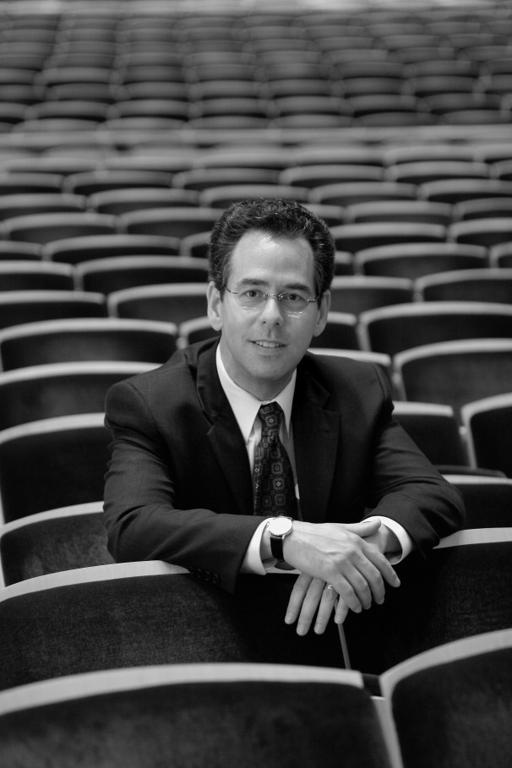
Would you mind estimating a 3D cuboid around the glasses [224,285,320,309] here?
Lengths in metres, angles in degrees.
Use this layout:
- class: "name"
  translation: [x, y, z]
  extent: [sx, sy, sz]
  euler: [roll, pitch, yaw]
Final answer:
- class: "glasses"
  translation: [0.022, -0.119, 0.928]
  extent: [0.120, 0.032, 0.030]
  euler: [4, 15, 1]
